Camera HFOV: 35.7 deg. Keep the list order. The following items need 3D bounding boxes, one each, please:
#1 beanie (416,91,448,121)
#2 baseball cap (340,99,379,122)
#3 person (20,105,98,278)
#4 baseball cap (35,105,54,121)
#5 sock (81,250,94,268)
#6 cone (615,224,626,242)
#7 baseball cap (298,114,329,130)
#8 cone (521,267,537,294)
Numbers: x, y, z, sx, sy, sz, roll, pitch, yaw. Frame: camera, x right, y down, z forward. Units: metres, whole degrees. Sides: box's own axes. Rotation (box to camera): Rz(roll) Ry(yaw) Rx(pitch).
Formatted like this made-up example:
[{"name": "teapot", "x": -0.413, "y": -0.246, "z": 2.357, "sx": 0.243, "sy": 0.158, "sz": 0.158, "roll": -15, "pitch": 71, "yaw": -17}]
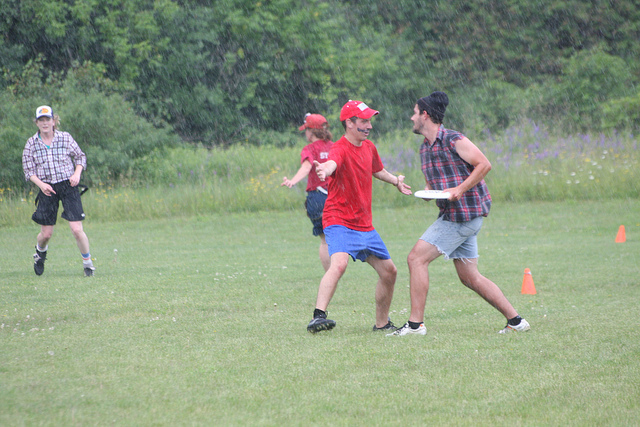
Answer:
[{"name": "beanie", "x": 1.969, "y": -1.872, "z": 17.084, "sx": 0.500, "sy": 0.428, "sz": 0.383, "roll": 18, "pitch": 20, "yaw": 29}, {"name": "baseball cap", "x": 0.673, "y": -1.780, "z": 17.301, "sx": 0.494, "sy": 0.271, "sz": 0.342, "roll": -10, "pitch": 7, "yaw": 20}, {"name": "person", "x": -5.288, "y": -0.423, "z": 19.872, "sx": 1.264, "sy": 3.296, "sz": 0.824, "roll": -2, "pitch": 12, "yaw": -4}, {"name": "baseball cap", "x": -5.493, "y": -1.983, "z": 19.853, "sx": 0.342, "sy": 0.250, "sz": 0.286, "roll": -5, "pitch": 14, "yaw": -17}, {"name": "sock", "x": -4.677, "y": 0.932, "z": 20.012, "sx": 0.183, "sy": 0.337, "sz": 0.261, "roll": -4, "pitch": 13, "yaw": -15}, {"name": "cone", "x": 6.614, "y": 0.474, "z": 21.976, "sx": 0.278, "sy": 0.411, "sz": 0.296, "roll": 1, "pitch": 0, "yaw": -2}, {"name": "baseball cap", "x": -0.090, "y": -1.754, "z": 19.461, "sx": 0.388, "sy": 0.238, "sz": 0.287, "roll": 9, "pitch": 13, "yaw": 17}, {"name": "cone", "x": 3.941, "y": 1.244, "z": 18.700, "sx": 0.323, "sy": 0.500, "sz": 0.272, "roll": -5, "pitch": 13, "yaw": -16}]
